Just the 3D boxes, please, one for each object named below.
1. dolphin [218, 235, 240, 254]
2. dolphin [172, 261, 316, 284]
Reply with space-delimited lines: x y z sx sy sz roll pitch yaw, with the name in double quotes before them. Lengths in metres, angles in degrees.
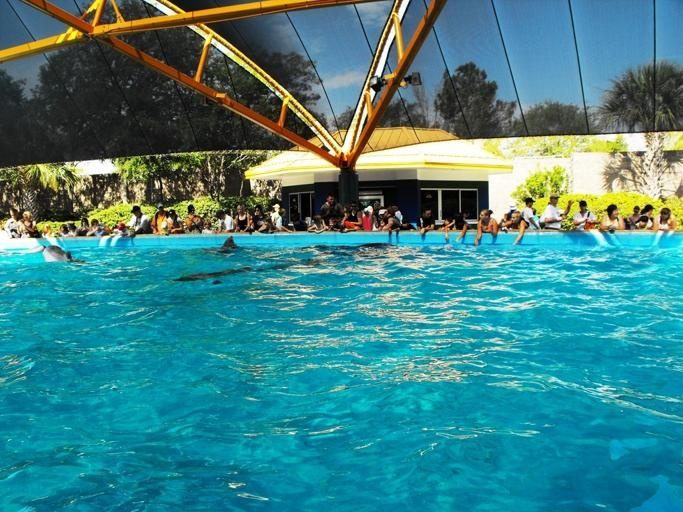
"dolphin" -3.103 -0.297 13.746 0.428 0.532 0.228 9 -14 3
"dolphin" -2.101 0.312 10.989 3.193 0.048 0.931 -9 13 -35
